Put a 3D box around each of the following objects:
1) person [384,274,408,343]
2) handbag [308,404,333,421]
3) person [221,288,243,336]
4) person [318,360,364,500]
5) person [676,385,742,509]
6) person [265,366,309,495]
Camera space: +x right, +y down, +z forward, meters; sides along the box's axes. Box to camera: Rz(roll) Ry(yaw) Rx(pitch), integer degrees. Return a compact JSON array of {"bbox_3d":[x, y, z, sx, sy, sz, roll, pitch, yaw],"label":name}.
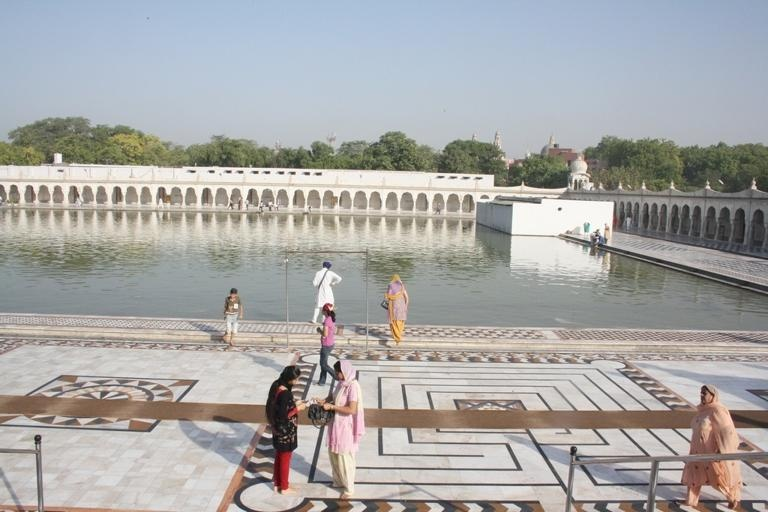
[{"bbox_3d":[0.296,1.142,16.299,0.473,1.615,0.967,3,10,4],"label":"person"},{"bbox_3d":[-0.961,2.395,10.865,0.378,0.340,0.147,-8,14,-43],"label":"handbag"},{"bbox_3d":[-3.436,1.297,15.966,0.344,1.194,0.441,-1,11,-16],"label":"person"},{"bbox_3d":[-0.650,2.651,11.009,0.636,2.055,0.581,1,11,-3],"label":"person"},{"bbox_3d":[5.087,2.919,10.794,0.820,1.838,0.596,7,12,26],"label":"person"},{"bbox_3d":[-1.548,2.641,11.128,0.590,1.964,0.709,-1,11,-13],"label":"person"}]
